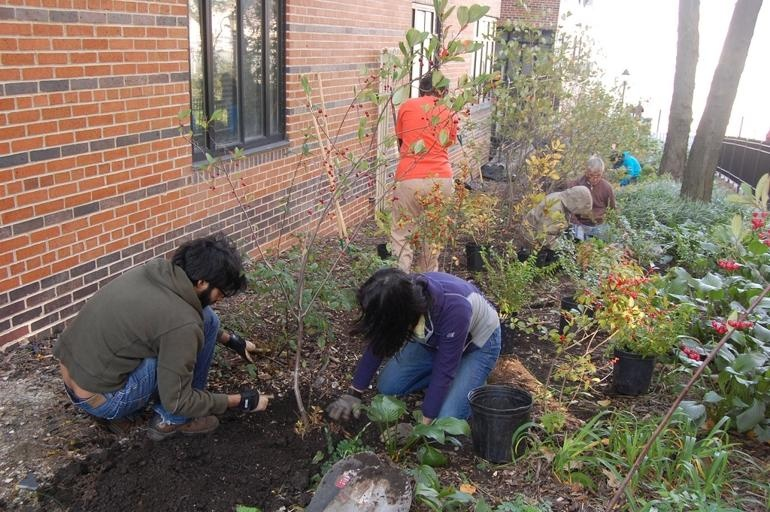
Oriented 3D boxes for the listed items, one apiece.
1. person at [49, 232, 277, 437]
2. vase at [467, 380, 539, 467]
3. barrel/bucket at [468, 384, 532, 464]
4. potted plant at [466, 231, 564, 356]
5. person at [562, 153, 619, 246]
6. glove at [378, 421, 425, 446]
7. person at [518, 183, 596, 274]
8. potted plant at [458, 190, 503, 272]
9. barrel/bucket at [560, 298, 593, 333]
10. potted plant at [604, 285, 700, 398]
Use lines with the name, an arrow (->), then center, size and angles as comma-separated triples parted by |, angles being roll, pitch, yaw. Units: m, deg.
person -> -1.585, 0.362, 3.833 | 1.543, 1.418, 1.162 | -1, 32, -41
vase -> 0.870, 1.294, 3.964 | 0.502, 0.423, 0.444 | 6, -1, -31
barrel/bucket -> 0.844, 1.282, 3.976 | 0.435, 0.423, 0.507 | 2, 0, 25
potted plant -> 1.529, 0.394, 6.730 | 1.114, 1.317, 1.105 | -12, 15, -44
person -> 3.174, -0.847, 7.844 | 0.825, 1.260, 0.812 | -23, 35, -22
glove -> 0.106, 1.322, 3.907 | 0.140, 0.068, 0.466 | 31, 6, 22
person -> 2.564, -0.791, 7.428 | 0.657, 0.794, 1.619 | 12, 32, 41
potted plant -> 1.242, -0.379, 7.046 | 0.887, 1.105, 0.340 | 9, -17, -22
barrel/bucket -> 1.878, 0.578, 5.086 | 0.269, 0.323, 0.284 | -2, 27, 1
potted plant -> 2.398, 0.803, 4.571 | 0.472, 0.926, 0.563 | 22, -7, -7
